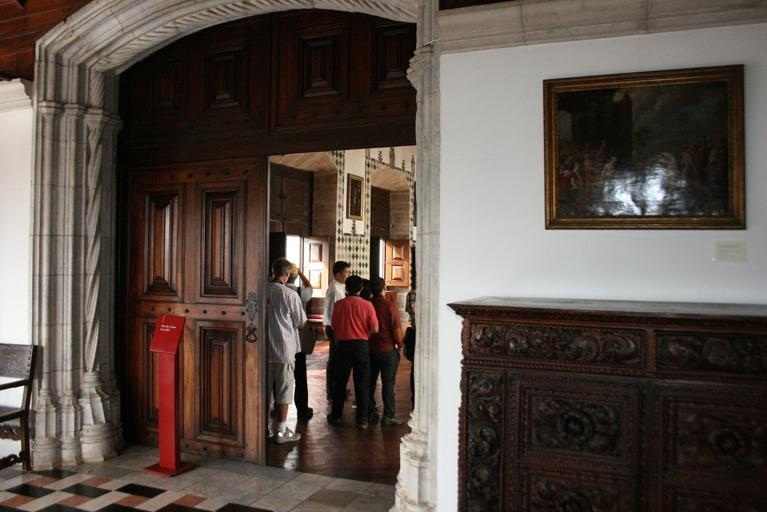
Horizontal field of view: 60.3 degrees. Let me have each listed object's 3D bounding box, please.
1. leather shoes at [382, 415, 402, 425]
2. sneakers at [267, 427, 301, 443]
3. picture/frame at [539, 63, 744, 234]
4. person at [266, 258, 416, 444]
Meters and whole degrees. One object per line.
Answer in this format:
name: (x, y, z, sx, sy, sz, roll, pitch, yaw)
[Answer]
leather shoes: (0.097, 1.841, 7.440, 0.180, 0.079, 0.095, -1, -2, -1)
sneakers: (-1.015, 1.859, 7.011, 0.396, 0.171, 0.155, 3, -2, -39)
picture/frame: (1.903, -0.766, 4.712, 1.226, 1.023, 0.087, -1, -1, 14)
person: (-0.589, 0.947, 7.418, 1.406, 1.905, 0.927, -2, 4, -13)
